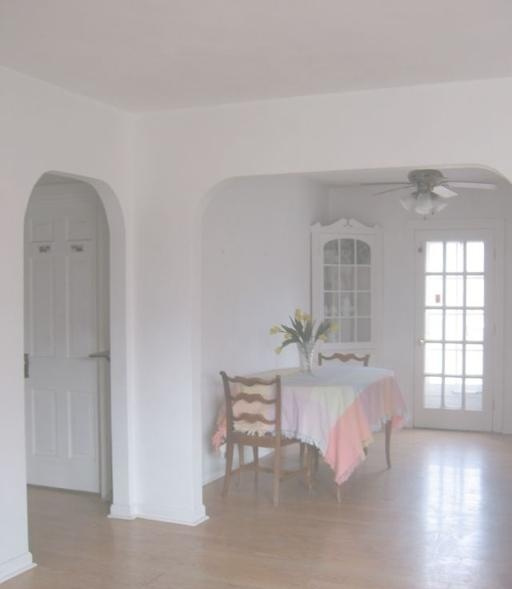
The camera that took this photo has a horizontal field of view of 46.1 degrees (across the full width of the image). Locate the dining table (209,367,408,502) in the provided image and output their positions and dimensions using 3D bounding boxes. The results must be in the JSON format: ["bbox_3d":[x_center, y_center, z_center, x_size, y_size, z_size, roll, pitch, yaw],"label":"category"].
[{"bbox_3d":[0.408,0.982,4.390,1.426,0.903,1.066,1,-1,-10],"label":"dining table"}]

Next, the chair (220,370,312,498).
[{"bbox_3d":[0.072,0.987,4.368,0.587,0.910,0.649,-2,0,-16],"label":"chair"}]

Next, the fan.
[{"bbox_3d":[1.622,-1.014,5.523,0.587,0.181,0.629,-2,6,-15],"label":"fan"}]
